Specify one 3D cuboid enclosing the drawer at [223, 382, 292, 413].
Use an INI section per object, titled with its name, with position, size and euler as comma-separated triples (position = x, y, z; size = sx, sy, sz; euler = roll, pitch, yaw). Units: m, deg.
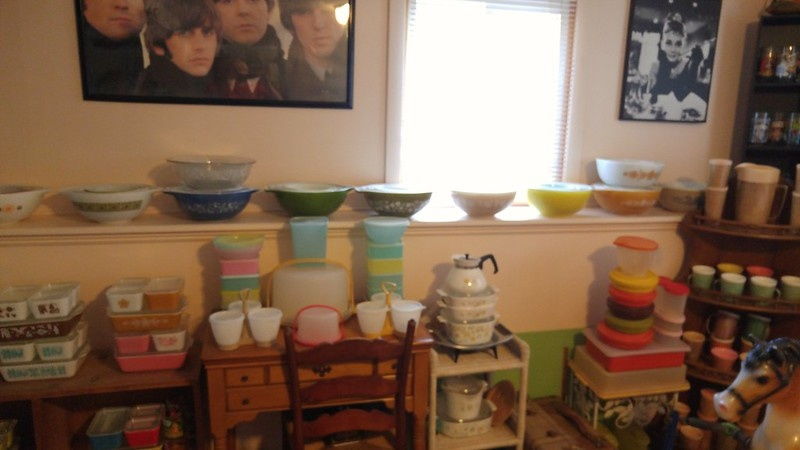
[drawer]
position = -0.777, 0.940, 3.164
size = 0.252, 0.073, 0.172
euler = -1, 2, -15
